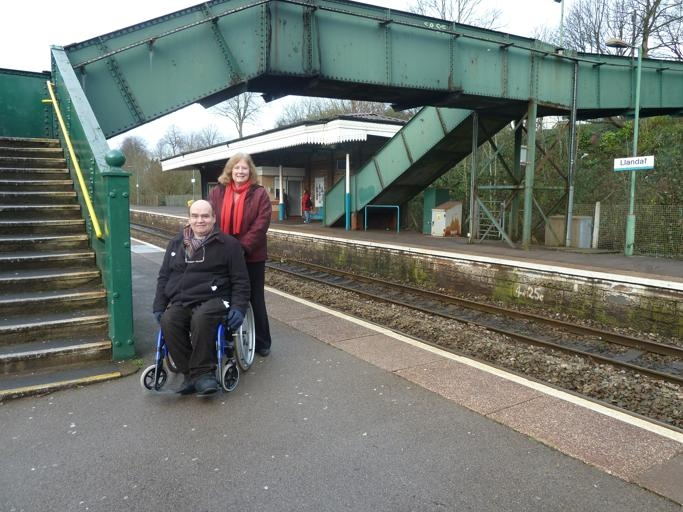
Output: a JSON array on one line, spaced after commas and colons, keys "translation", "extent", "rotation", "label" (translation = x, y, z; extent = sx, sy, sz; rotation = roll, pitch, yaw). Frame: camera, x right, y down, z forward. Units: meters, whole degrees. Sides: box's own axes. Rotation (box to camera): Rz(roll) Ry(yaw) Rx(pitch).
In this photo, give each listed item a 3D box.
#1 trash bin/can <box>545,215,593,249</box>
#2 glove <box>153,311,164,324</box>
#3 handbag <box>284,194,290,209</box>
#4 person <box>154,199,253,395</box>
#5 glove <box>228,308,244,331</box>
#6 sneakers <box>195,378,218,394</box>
[{"translation": [7.128, -0.791, 16.179], "extent": [1.366, 1.018, 0.811], "rotation": [9, 16, 29], "label": "trash bin/can"}, {"translation": [-2.039, 0.680, 5.760], "extent": [0.101, 0.131, 0.110], "rotation": [2, -7, -31], "label": "glove"}, {"translation": [-3.393, -3.401, 31.657], "extent": [0.174, 0.939, 0.255], "rotation": [2, 0, 9], "label": "handbag"}, {"translation": [-1.528, 0.462, 5.783], "extent": [0.945, 2.077, 0.887], "rotation": [-1, 12, -8], "label": "person"}, {"translation": [-1.171, 0.691, 5.765], "extent": [0.149, 0.241, 0.085], "rotation": [9, -3, 45], "label": "glove"}, {"translation": [-1.460, 1.413, 5.605], "extent": [0.236, 0.201, 0.143], "rotation": [-4, 14, -20], "label": "sneakers"}]
